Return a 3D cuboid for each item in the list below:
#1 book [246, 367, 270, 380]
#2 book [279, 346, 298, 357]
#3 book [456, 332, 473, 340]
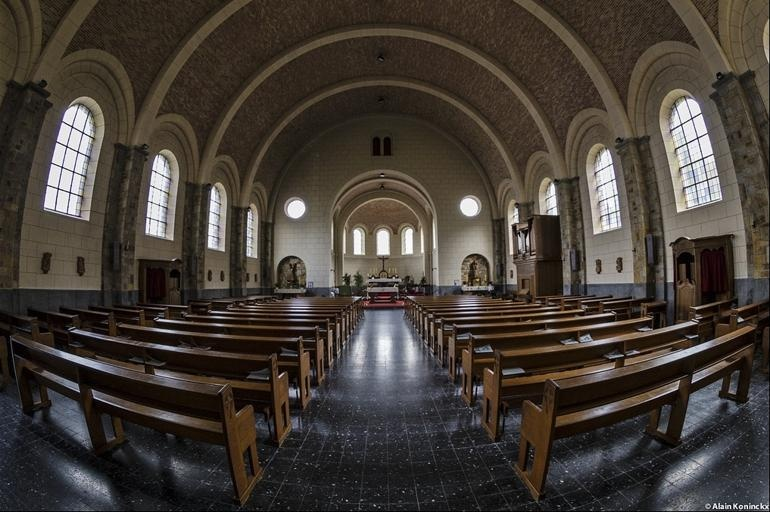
[{"bbox_3d":[-2.408,2.291,8.960,0.351,0.159,0.374,-1,-3,-1],"label":"book"},{"bbox_3d":[-1.959,1.925,9.493,0.258,0.115,0.193,-2,-2,22],"label":"book"},{"bbox_3d":[1.767,1.755,10.414,0.310,0.123,0.197,3,-3,-4],"label":"book"}]
